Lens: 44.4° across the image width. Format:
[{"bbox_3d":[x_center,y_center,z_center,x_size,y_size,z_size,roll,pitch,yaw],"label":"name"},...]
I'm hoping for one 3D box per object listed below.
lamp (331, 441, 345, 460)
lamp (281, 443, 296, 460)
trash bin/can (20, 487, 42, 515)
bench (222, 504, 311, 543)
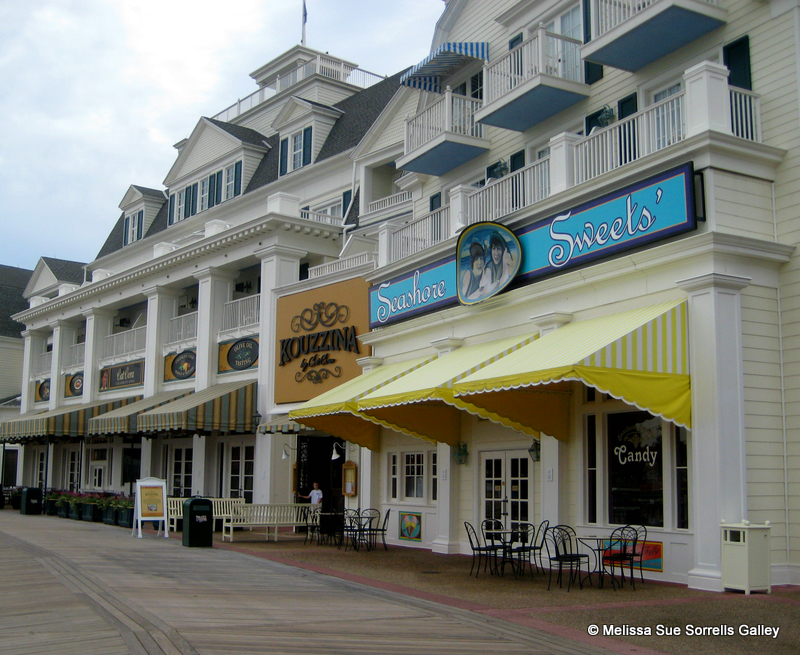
[{"bbox_3d":[-1.729,3.492,27.860,0.522,0.601,0.416,1,-9,1],"label":"lamp"},{"bbox_3d":[-3.243,3.611,28.553,0.421,0.455,0.249,5,-16,-17],"label":"lamp"},{"bbox_3d":[-13.036,6.138,34.650,0.712,0.889,0.682,9,-18,-32],"label":"trash bin/can"},{"bbox_3d":[-3.494,5.149,25.511,2.155,1.022,3.451,2,-16,-8],"label":"bench"}]
